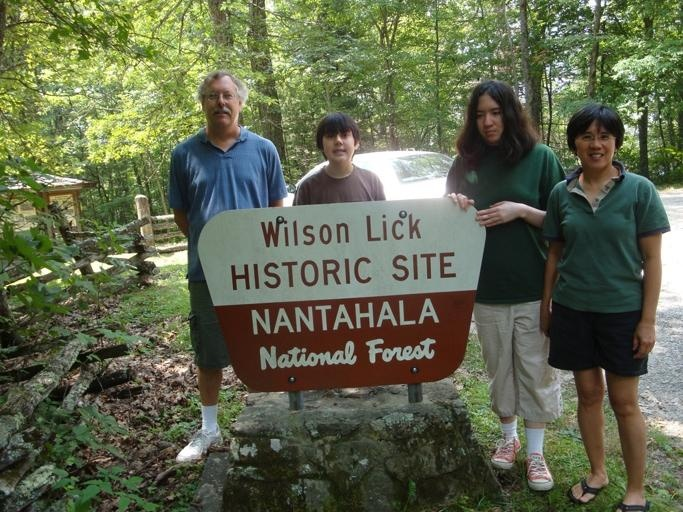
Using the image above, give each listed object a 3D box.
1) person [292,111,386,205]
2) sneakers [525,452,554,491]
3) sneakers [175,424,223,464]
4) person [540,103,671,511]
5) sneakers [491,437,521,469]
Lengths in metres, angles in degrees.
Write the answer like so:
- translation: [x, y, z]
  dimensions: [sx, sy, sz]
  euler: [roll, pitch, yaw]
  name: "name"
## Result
- translation: [-0.027, -0.691, 3.866]
  dimensions: [0.785, 0.735, 0.387]
  euler: [-8, 2, -14]
  name: "person"
- translation: [1.340, 1.427, 3.448]
  dimensions: [0.150, 0.138, 0.402]
  euler: [-6, 2, 16]
  name: "sneakers"
- translation: [-1.045, 1.375, 3.770]
  dimensions: [0.130, 0.128, 0.371]
  euler: [-2, 16, 35]
  name: "sneakers"
- translation: [1.581, 0.323, 3.130]
  dimensions: [0.670, 2.435, 0.595]
  euler: [4, 17, 31]
  name: "person"
- translation: [1.156, 1.376, 3.575]
  dimensions: [0.115, 0.121, 0.315]
  euler: [-3, -3, 27]
  name: "sneakers"
